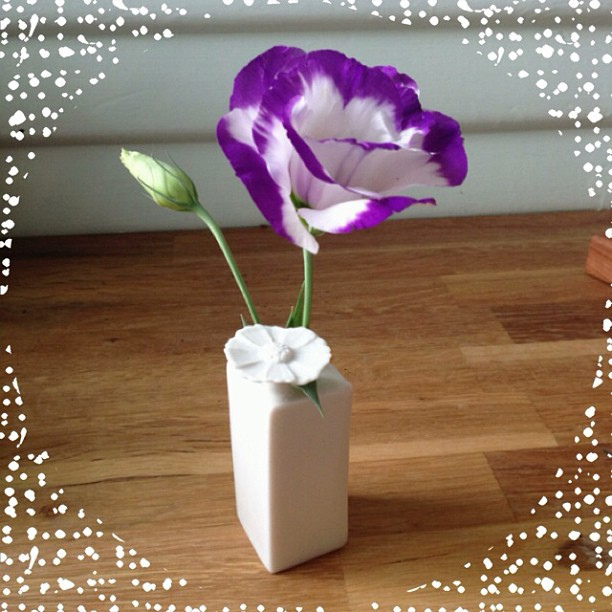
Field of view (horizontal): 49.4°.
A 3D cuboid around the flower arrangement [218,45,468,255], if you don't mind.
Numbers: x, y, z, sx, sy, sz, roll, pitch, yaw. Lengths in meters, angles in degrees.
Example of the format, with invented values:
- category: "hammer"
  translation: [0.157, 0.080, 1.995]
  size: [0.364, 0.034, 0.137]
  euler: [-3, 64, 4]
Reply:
- category: "flower arrangement"
  translation: [0.026, -0.108, 0.454]
  size: [0.156, 0.132, 0.148]
  euler: [-9, 25, -18]

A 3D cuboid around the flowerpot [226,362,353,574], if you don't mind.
- category: "flowerpot"
  translation: [-0.009, 0.152, 0.630]
  size: [0.091, 0.222, 0.073]
  euler: [-11, 29, -20]
